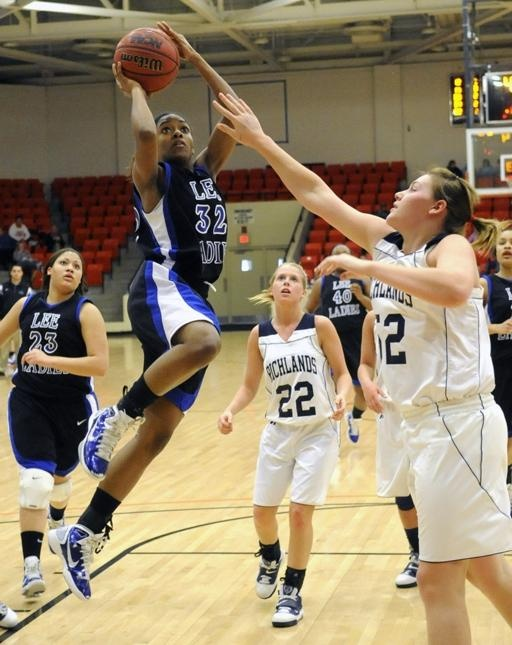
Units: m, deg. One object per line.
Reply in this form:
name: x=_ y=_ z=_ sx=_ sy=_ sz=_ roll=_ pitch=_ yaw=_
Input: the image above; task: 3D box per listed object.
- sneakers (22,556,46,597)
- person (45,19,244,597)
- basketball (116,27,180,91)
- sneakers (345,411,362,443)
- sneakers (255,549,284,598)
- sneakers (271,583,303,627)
sneakers: x=-0.985 y=1.127 z=2.852 sx=0.085 sy=0.165 sz=0.243 roll=4 pitch=-22 yaw=-24
person: x=-0.410 y=-0.090 z=2.436 sx=0.718 sy=2.078 sz=0.685 roll=-4 pitch=-15 yaw=9
basketball: x=-0.442 y=-1.052 z=2.563 sx=0.266 sy=0.244 sz=0.232 roll=8 pitch=2 yaw=14
sneakers: x=0.938 y=1.030 z=6.167 sx=0.123 sy=0.320 sz=0.140 roll=-11 pitch=9 yaw=-29
sneakers: x=0.057 y=1.097 z=2.769 sx=0.082 sy=0.230 sz=0.102 roll=6 pitch=-12 yaw=10
sneakers: x=0.130 y=1.123 z=2.562 sx=0.092 sy=0.145 sz=0.256 roll=-9 pitch=-17 yaw=18
